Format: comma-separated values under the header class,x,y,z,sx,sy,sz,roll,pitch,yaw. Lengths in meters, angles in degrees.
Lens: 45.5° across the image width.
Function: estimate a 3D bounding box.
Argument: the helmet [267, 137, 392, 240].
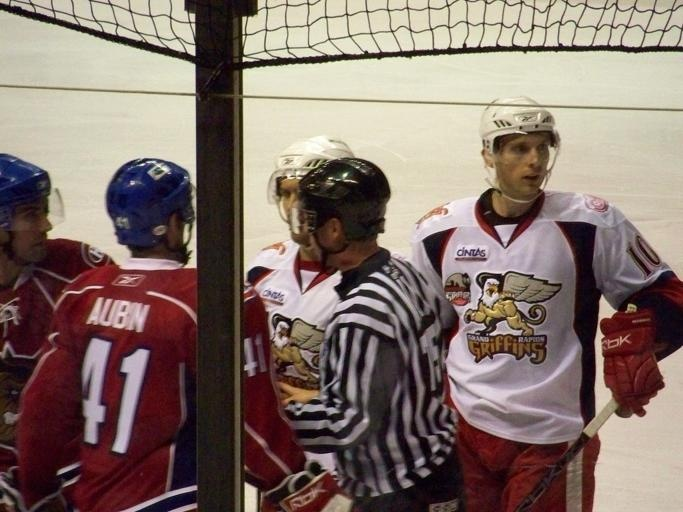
class,x,y,z,sx,sy,sz,roll,pitch,yaw
helmet,-0.024,-0.216,2.722,0.372,0.269,0.262,6,-5,5
